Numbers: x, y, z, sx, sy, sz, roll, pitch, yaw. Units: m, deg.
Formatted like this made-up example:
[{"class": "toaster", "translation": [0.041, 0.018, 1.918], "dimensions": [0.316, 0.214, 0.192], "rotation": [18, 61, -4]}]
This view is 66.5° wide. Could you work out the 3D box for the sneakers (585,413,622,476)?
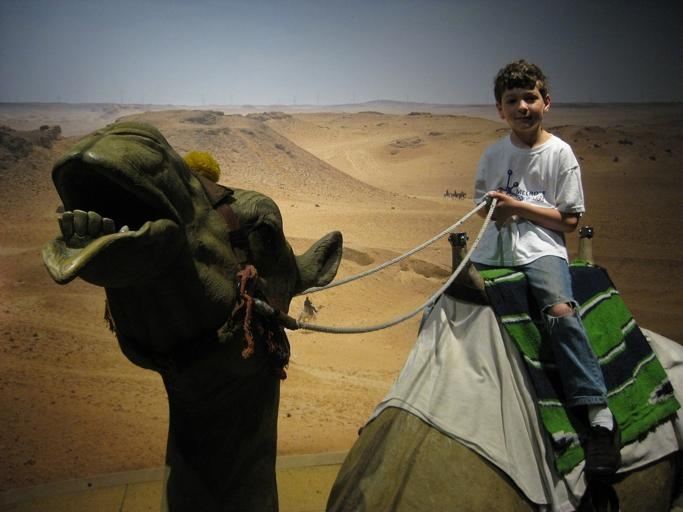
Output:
[{"class": "sneakers", "translation": [1.349, 0.970, 2.693], "dimensions": [0.166, 0.155, 0.424], "rotation": [-12, 11, 36]}]
